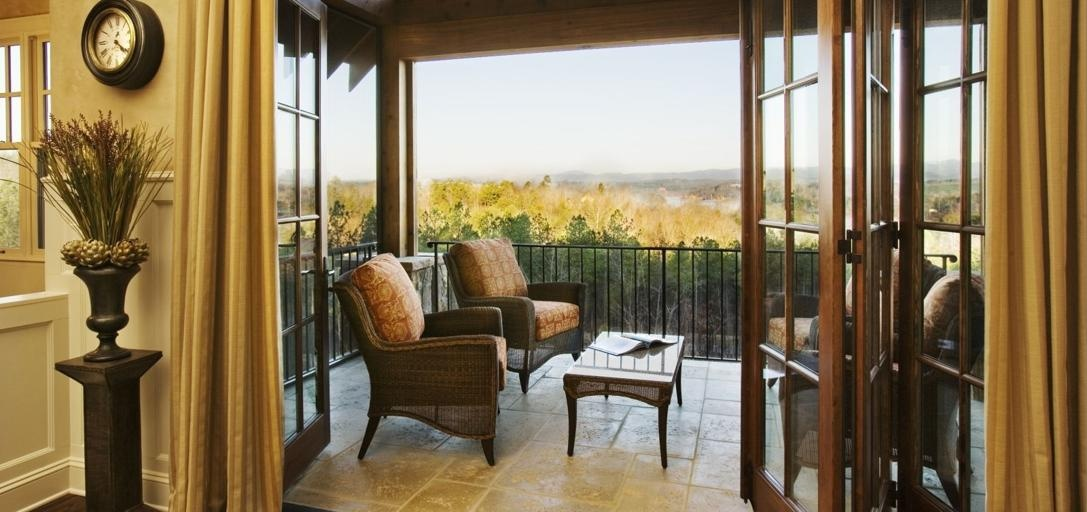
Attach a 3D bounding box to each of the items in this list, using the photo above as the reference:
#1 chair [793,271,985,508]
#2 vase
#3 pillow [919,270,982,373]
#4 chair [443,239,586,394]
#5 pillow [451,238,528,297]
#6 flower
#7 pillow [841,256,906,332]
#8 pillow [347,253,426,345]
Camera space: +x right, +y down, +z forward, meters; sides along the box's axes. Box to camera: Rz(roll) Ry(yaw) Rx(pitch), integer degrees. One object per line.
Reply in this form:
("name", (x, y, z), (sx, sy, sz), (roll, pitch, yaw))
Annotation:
("chair", (2.352, 0.853, 5.464), (1.517, 1.690, 1.600), (0, 0, 19))
("vase", (-2.988, 0.399, 4.796), (0.390, 0.656, 0.133), (-3, 9, -21))
("pillow", (2.767, 0.383, 4.673), (0.459, 0.489, 0.588), (6, -2, 19))
("chair", (-0.279, 0.499, 6.897), (1.442, 1.114, 1.292), (3, 12, -3))
("pillow", (-0.535, 0.135, 6.851), (0.644, 0.609, 0.251), (-17, -18, -47))
("flower", (-3.031, -0.477, 5.341), (1.213, 1.210, 1.110), (4, 2, -2))
("pillow", (2.258, 0.213, 4.712), (0.520, 0.438, 0.119), (3, -5, -26))
("pillow", (-1.196, 0.350, 5.520), (0.246, 0.620, 0.664), (-24, 0, 36))
